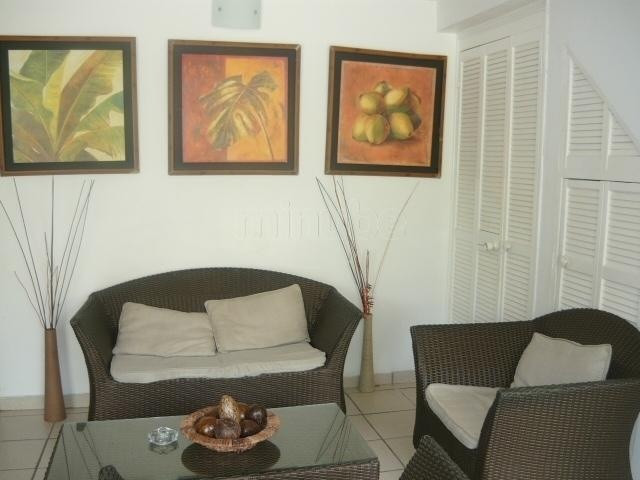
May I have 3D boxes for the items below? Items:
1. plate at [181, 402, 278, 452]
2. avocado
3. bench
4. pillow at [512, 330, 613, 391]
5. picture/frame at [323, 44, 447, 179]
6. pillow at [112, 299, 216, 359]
[{"bbox_3d":[-0.471,0.984,2.666,0.512,0.117,0.504,4,3,-1],"label":"plate"},{"bbox_3d":[-0.434,0.858,2.637,0.307,0.203,0.308,7,9,11],"label":"avocado"},{"bbox_3d":[-0.709,0.709,3.655,1.836,0.915,0.814,1,9,-17],"label":"bench"},{"bbox_3d":[1.349,0.717,2.853,0.171,0.353,0.469,23,-15,-35],"label":"pillow"},{"bbox_3d":[0.544,-0.991,4.164,0.992,0.973,0.041,1,11,-16],"label":"picture/frame"},{"bbox_3d":[-1.088,0.558,3.755,0.827,0.380,0.586,1,3,-8],"label":"pillow"}]
